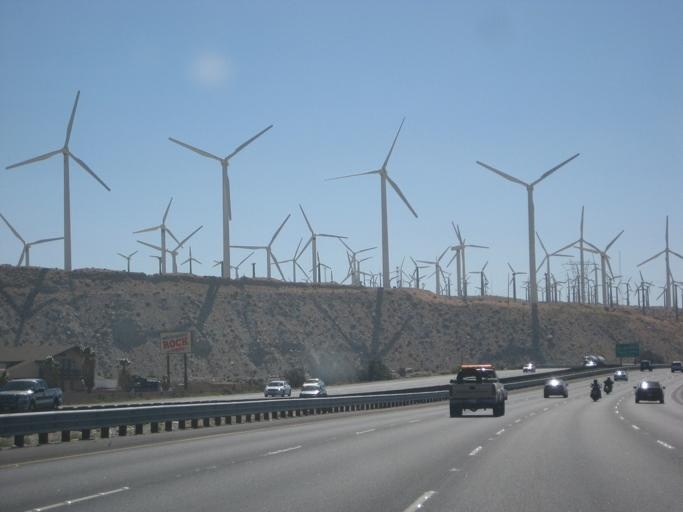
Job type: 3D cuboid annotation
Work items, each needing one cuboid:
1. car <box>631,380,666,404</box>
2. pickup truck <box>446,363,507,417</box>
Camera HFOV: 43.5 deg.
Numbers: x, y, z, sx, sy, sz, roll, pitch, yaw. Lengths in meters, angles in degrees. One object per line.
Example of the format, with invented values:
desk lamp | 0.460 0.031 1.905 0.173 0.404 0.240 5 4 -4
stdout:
car | 19.396 8.572 54.245 1.320 1.060 2.517 0 0 11
pickup truck | 6.901 6.745 43.133 1.741 1.706 3.181 -1 -2 14
